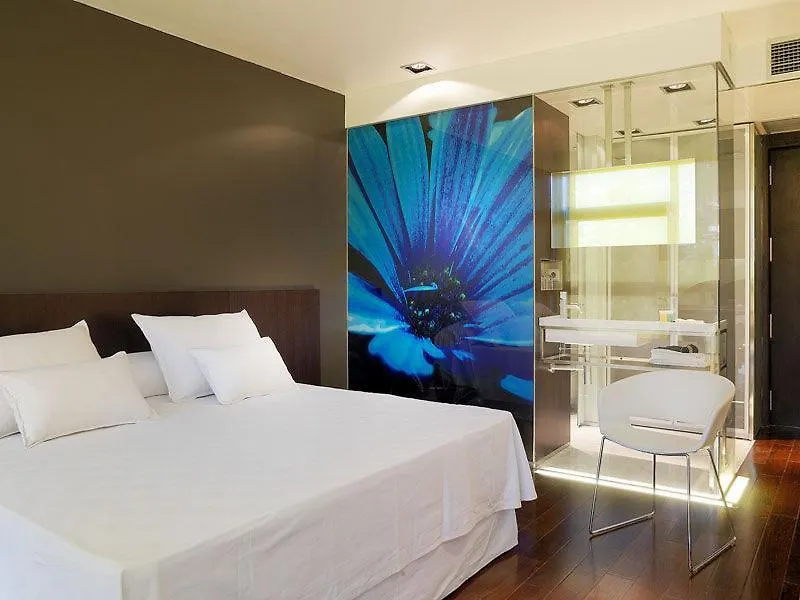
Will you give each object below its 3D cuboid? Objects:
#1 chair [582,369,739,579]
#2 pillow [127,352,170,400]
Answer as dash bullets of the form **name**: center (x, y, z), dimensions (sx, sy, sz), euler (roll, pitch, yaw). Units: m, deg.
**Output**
- **chair**: center (1.641, 0.872, 3.485), dimensions (0.949, 1.386, 0.972), euler (0, -2, -42)
- **pillow**: center (-1.601, 0.461, 3.557), dimensions (0.071, 0.253, 0.271), euler (-24, 4, 18)
